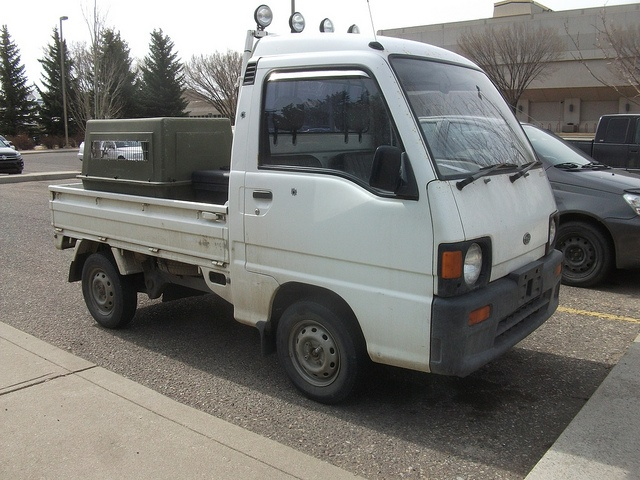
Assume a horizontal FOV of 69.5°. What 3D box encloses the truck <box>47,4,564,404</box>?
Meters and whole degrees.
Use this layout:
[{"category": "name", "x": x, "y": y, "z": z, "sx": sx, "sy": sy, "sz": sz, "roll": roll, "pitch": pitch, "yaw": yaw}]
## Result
[{"category": "truck", "x": -0.224, "y": -0.278, "z": 5.405, "sx": 5.076, "sy": 3.523, "sz": 2.895, "roll": 6, "pitch": 10, "yaw": 38}]
